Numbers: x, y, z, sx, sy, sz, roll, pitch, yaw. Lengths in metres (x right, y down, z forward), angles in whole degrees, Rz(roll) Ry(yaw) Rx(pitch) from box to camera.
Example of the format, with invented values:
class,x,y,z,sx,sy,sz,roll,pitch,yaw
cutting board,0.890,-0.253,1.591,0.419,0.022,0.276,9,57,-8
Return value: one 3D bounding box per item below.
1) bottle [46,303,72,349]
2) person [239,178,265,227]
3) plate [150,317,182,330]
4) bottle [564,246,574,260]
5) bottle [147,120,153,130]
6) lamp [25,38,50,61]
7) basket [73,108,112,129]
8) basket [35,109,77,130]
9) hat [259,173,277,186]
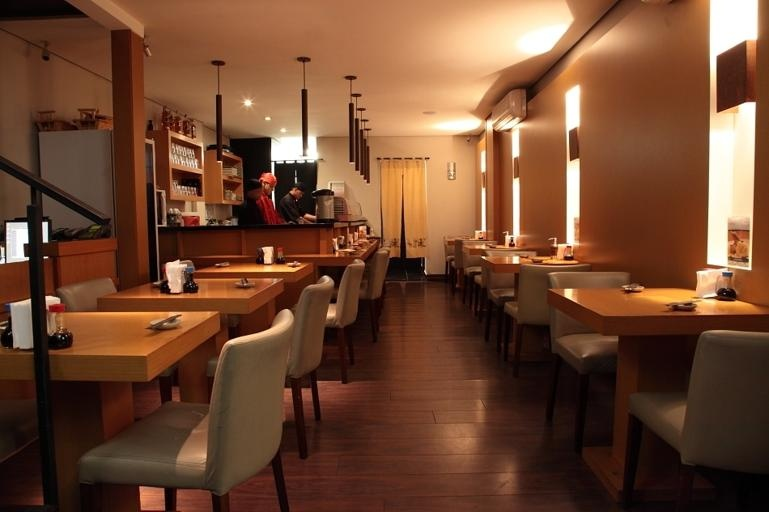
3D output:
class,x,y,z,sx,sy,sz,roll,pitch,yaw
bottle,-1.616,0.345,2.958,0.109,0.196,0.161,-8,15,-29
person,-1.645,-0.643,7.381,0.268,0.534,0.710,-3,13,-13
plate,-1.167,0.365,3.184,0.086,0.030,0.085,-19,4,-9
bottle,1.869,-0.025,6.092,0.126,0.180,0.061,1,13,11
bottle,-3.106,-1.735,7.902,0.078,0.114,0.287,-6,14,-22
lamp,-3.502,-2.111,6.065,0.132,0.111,0.264,-4,-2,14
basket,-3.046,-1.423,6.204,0.356,0.200,0.327,-4,14,-16
basket,-3.385,-1.399,6.175,0.310,0.203,0.300,3,14,15
hat,-1.477,-0.998,7.722,0.241,0.195,0.182,-11,22,-26
